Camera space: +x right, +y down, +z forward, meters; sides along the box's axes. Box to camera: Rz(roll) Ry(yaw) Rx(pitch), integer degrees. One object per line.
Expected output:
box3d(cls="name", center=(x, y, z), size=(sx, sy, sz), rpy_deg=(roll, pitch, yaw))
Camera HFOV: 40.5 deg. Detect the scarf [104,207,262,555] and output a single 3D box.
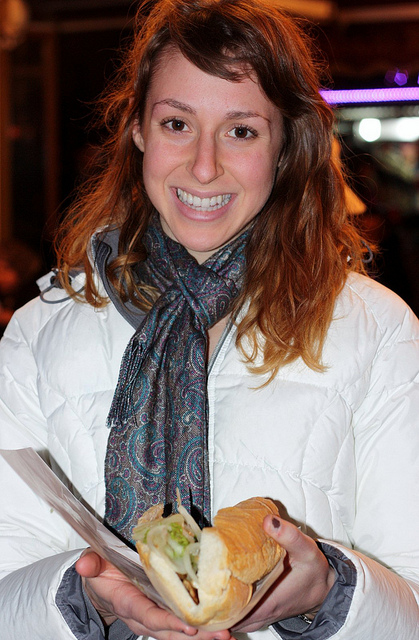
box3d(cls="scarf", center=(-0.082, 0.127, 1.168), size=(0.218, 0.578, 0.280), rpy_deg=(-1, 9, -19))
